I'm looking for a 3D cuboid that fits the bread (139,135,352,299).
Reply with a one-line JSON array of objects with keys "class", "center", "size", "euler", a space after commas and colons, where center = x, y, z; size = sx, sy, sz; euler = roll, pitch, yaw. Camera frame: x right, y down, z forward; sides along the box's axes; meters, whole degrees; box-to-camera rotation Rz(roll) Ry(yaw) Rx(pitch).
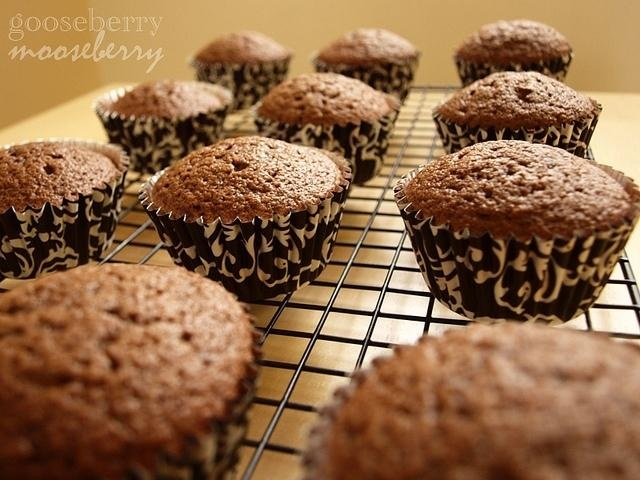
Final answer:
[{"class": "bread", "center": [-0.207, -0.077, 1.631], "size": [0.537, 0.333, 0.536], "euler": [-3, 32, 0]}]
